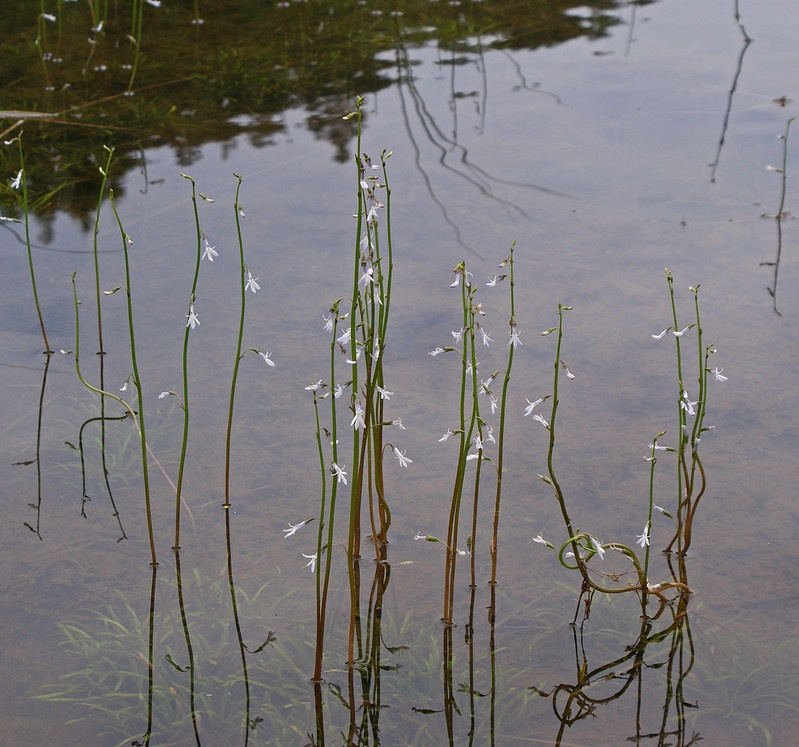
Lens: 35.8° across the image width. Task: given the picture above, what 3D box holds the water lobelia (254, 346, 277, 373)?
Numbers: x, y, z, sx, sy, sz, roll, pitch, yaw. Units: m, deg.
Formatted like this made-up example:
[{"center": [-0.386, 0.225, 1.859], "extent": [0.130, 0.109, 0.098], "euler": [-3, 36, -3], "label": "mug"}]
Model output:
[{"center": [-0.793, -0.090, 7.425], "extent": [0.097, 0.071, 0.271], "euler": [18, 9, -30], "label": "water lobelia"}]

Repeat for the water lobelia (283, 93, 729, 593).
[{"center": [0.570, -0.255, 6.788], "extent": [2.626, 2.589, 2.730], "euler": [-5, 18, -5], "label": "water lobelia"}]
